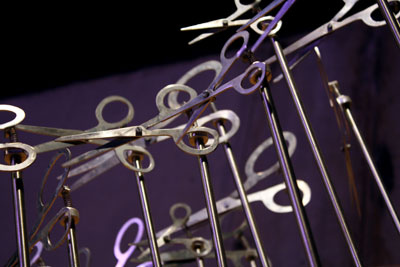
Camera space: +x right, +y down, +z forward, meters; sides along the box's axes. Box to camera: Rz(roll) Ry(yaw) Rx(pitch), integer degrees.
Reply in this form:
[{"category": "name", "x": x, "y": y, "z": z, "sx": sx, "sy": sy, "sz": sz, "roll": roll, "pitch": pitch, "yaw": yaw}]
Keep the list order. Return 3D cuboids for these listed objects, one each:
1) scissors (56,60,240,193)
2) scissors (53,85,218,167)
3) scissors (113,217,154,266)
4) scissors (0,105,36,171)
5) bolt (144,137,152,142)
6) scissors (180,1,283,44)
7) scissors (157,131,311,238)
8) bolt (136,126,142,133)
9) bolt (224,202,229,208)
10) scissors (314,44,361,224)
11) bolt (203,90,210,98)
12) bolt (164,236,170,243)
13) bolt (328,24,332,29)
[{"category": "scissors", "x": -0.091, "y": 0.033, "z": 2.428, "sx": 0.651, "sy": 0.280, "sz": 0.035, "roll": -27, "pitch": -44, "yaw": 12}, {"category": "scissors", "x": -0.157, "y": -0.011, "z": 2.222, "sx": 0.363, "sy": 0.206, "sz": 0.039, "roll": -14, "pitch": -33, "yaw": -5}, {"category": "scissors", "x": -0.197, "y": 0.322, "z": 2.521, "sx": 0.090, "sy": 0.145, "sz": 0.007, "roll": -13, "pitch": -37, "yaw": 44}, {"category": "scissors", "x": -0.473, "y": 0.005, "z": 2.243, "sx": 0.088, "sy": 0.212, "sz": 0.074, "roll": -7, "pitch": -25, "yaw": -6}, {"category": "bolt", "x": -0.136, "y": 0.013, "z": 2.257, "sx": 0.013, "sy": 0.012, "sz": 0.003, "roll": -1, "pitch": -7, "yaw": 15}, {"category": "scissors", "x": 0.088, "y": -0.294, "z": 2.325, "sx": 0.189, "sy": 0.144, "sz": 0.022, "roll": -19, "pitch": -50, "yaw": -1}, {"category": "scissors", "x": 0.155, "y": 0.169, "z": 2.562, "sx": 0.555, "sy": 0.211, "sz": 0.012, "roll": -24, "pitch": -24, "yaw": 5}, {"category": "bolt", "x": -0.157, "y": -0.012, "z": 2.224, "sx": 0.014, "sy": 0.014, "sz": 0.003, "roll": 2, "pitch": -9, "yaw": -9}, {"category": "bolt", "x": 0.078, "y": 0.210, "z": 2.546, "sx": 0.013, "sy": 0.012, "sz": 0.003, "roll": -4, "pitch": -22, "yaw": 16}, {"category": "scissors", "x": 0.415, "y": 0.054, "z": 2.448, "sx": 0.107, "sy": 0.603, "sz": 0.071, "roll": -4, "pitch": 13, "yaw": 30}, {"category": "bolt", "x": 0.016, "y": -0.104, "z": 2.227, "sx": 0.021, "sy": 0.020, "sz": 0.005, "roll": 0, "pitch": -5, "yaw": 8}, {"category": "bolt", "x": -0.096, "y": 0.305, "z": 2.485, "sx": 0.014, "sy": 0.013, "sz": 0.003, "roll": 2, "pitch": -41, "yaw": 0}, {"category": "bolt", "x": 0.350, "y": -0.291, "z": 2.327, "sx": 0.012, "sy": 0.011, "sz": 0.003, "roll": 0, "pitch": -13, "yaw": 18}]
